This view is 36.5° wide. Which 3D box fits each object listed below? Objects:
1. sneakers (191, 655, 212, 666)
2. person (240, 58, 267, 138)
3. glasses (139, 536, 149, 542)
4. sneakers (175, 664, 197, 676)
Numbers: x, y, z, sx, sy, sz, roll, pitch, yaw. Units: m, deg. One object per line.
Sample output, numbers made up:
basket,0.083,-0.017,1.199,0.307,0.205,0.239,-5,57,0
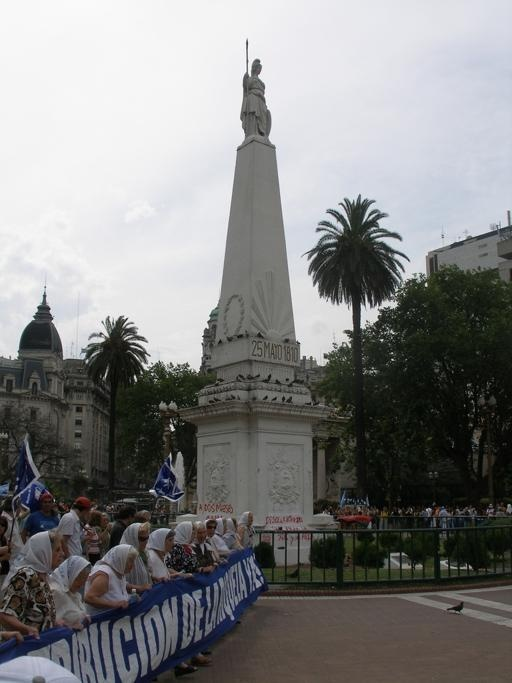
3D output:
sneakers,-0.552,3.200,7.809,0.224,0.161,0.077,0,-3,-7
person,-0.038,-7.298,23.476,0.826,3.033,1.233,0,-10,-2
glasses,-1.073,1.861,7.315,0.068,0.022,0.067,-21,-21,28
sneakers,-0.685,3.144,7.447,0.229,0.066,0.080,-1,2,2
